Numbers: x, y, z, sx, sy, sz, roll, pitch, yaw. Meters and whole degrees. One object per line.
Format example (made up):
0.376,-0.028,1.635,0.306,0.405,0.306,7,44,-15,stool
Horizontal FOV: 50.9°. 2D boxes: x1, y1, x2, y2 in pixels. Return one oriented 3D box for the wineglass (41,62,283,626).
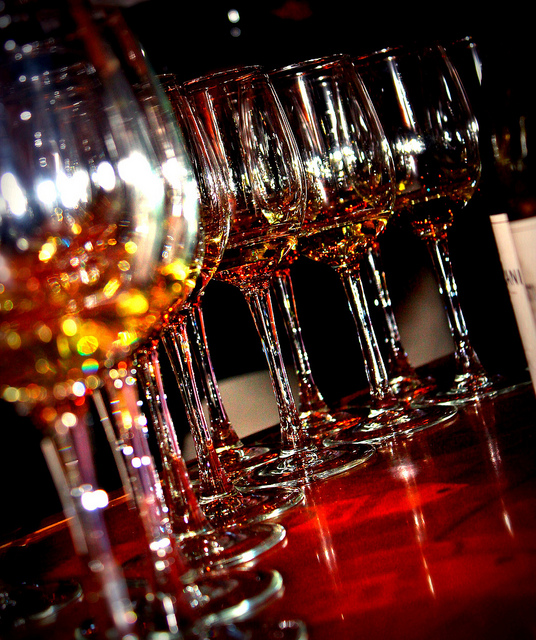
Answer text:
-0.075,0.015,0.329,0.071,0.200,0.189,-16,-6,-13,wineglass
